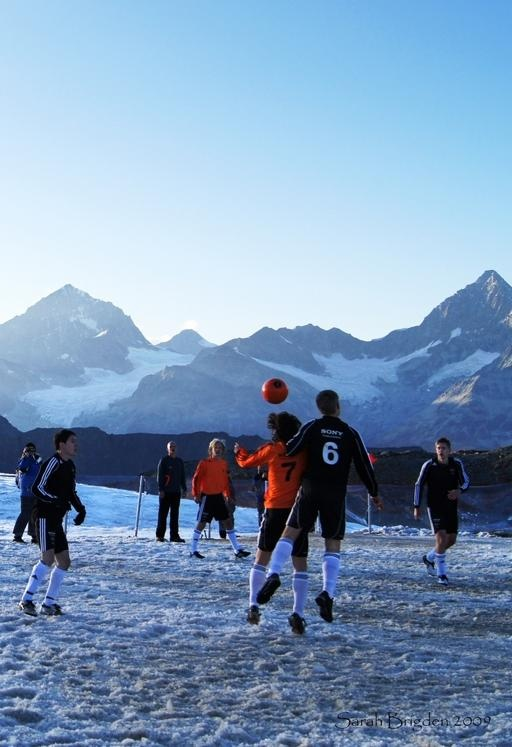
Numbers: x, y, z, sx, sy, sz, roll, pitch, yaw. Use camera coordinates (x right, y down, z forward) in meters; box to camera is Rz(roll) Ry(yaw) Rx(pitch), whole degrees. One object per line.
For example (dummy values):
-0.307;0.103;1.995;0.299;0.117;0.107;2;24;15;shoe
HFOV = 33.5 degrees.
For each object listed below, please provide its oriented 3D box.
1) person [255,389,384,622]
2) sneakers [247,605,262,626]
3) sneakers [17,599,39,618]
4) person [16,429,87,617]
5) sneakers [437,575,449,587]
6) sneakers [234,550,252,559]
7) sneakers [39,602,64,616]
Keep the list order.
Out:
0.535;1.020;7.254;1.249;1.812;0.521;10;-9;-38;person
-0.014;1.973;6.924;0.086;0.137;0.135;5;-7;-6;sneakers
-2.069;2.164;7.790;0.217;0.095;0.089;30;9;37;sneakers
-1.880;1.393;8.036;0.511;1.706;0.532;5;-7;-2;person
2.470;2.748;11.200;0.103;0.150;0.160;4;1;3;sneakers
-0.213;2.908;13.608;0.279;0.119;0.103;-15;-8;40;sneakers
-1.874;2.190;7.828;0.253;0.096;0.079;0;-3;4;sneakers
